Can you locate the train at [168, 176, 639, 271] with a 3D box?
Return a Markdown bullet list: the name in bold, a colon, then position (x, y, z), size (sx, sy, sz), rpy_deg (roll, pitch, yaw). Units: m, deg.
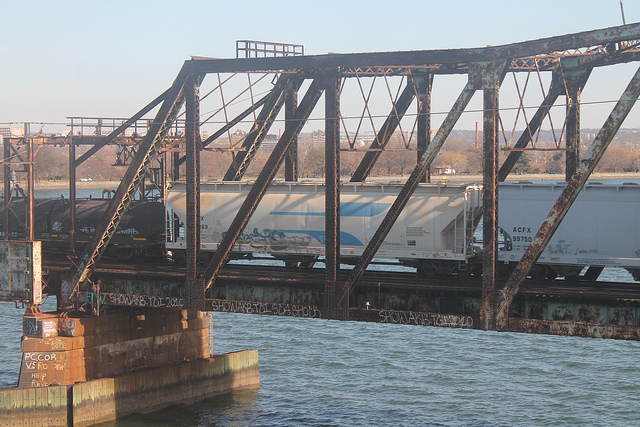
- **train**: position (5.287, 0.607, 96.497), size (28.659, 6.214, 5.464), rpy_deg (1, 3, 18)
